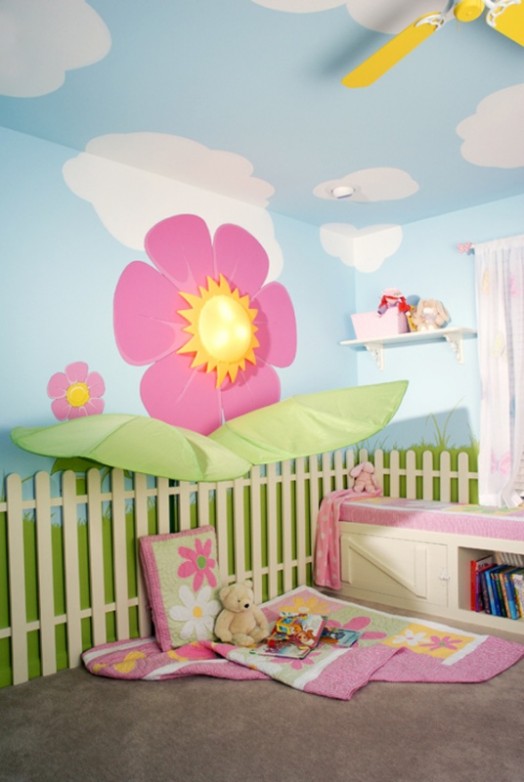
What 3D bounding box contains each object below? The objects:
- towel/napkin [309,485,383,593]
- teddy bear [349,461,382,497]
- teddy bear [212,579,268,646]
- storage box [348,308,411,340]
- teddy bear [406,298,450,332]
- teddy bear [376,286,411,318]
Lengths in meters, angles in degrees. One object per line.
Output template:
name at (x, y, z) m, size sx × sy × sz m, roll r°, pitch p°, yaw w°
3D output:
towel/napkin at (0.464, 0.857, 3.707) m, size 0.260 × 0.555 × 0.595 m, roll -1°, pitch -4°, yaw 40°
teddy bear at (0.629, 0.555, 4.096) m, size 0.233 × 0.250 × 0.177 m, roll 5°, pitch -13°, yaw -1°
teddy bear at (-0.083, 0.987, 2.907) m, size 0.267 × 0.248 × 0.202 m, roll -1°, pitch 0°, yaw -36°
storage box at (0.698, -0.385, 3.992) m, size 0.265 × 0.124 × 0.174 m, roll -7°, pitch -6°, yaw 43°
teddy bear at (0.970, -0.433, 3.866) m, size 0.211 × 0.206 × 0.082 m, roll -3°, pitch -16°, yaw 19°
teddy bear at (0.798, -0.516, 3.967) m, size 0.216 × 0.166 × 0.138 m, roll -5°, pitch -1°, yaw 8°
